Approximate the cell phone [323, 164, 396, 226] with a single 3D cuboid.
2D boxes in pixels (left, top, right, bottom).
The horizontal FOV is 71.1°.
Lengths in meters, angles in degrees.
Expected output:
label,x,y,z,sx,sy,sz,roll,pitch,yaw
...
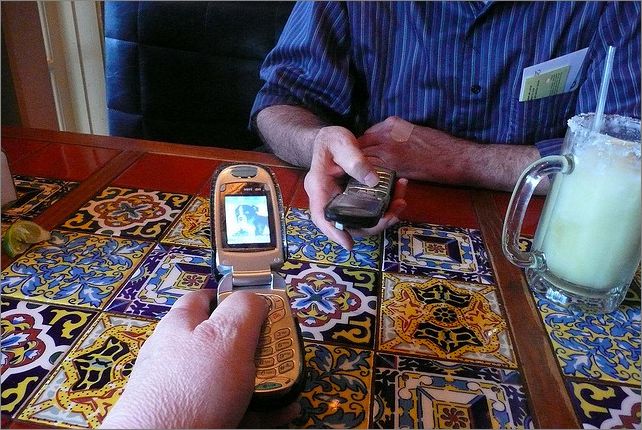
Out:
label,x,y,z,sx,sy,sz,roll,pitch,yaw
cell phone,0.039,-0.039,0.821,0.088,0.043,0.177,10,37,-11
